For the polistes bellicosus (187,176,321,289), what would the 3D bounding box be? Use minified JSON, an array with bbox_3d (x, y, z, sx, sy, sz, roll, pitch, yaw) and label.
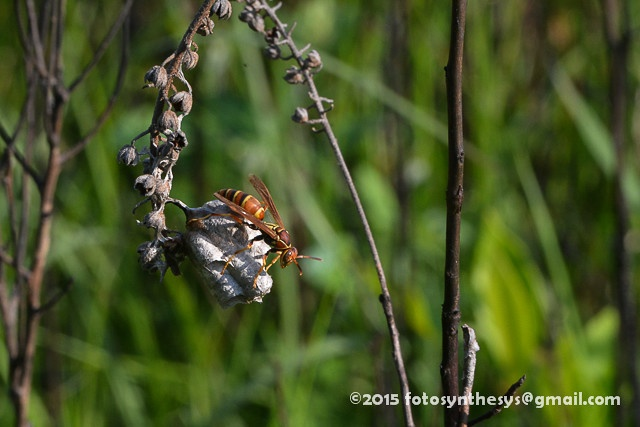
[{"bbox_3d":[-0.186,0.105,2.547,0.114,0.346,0.288,-27,18,27],"label":"polistes bellicosus"}]
